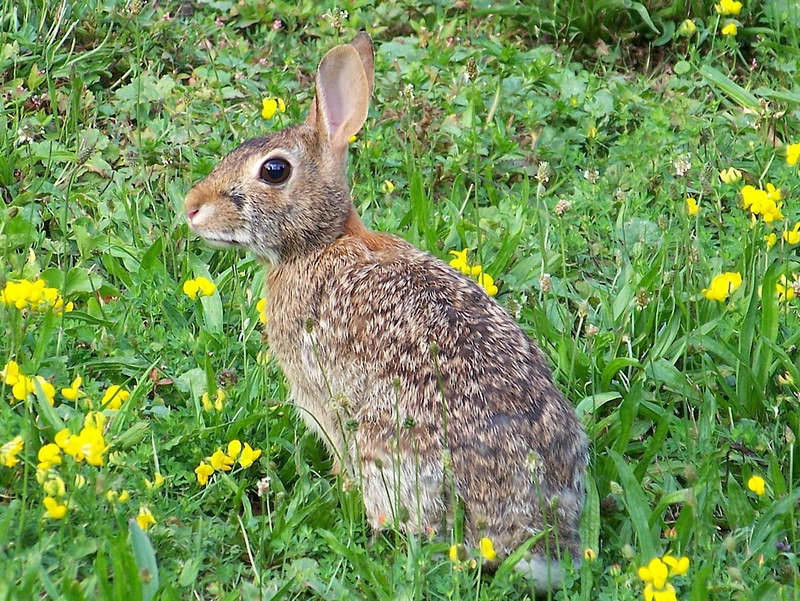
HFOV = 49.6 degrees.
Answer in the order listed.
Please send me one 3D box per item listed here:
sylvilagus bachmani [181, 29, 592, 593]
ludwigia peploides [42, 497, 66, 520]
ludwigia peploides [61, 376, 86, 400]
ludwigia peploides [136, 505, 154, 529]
[{"bbox_3d":[-0.042,0.065,3.735,1.959,1.910,0.966,21,20,15],"label":"sylvilagus bachmani"},{"bbox_3d":[-1.210,0.735,3.027,0.049,0.087,0.120,0,-10,-6],"label":"ludwigia peploides"},{"bbox_3d":[-1.381,0.370,3.688,0.060,0.136,0.094,20,-4,-16],"label":"ludwigia peploides"},{"bbox_3d":[-0.944,0.801,3.187,0.064,0.060,0.085,3,39,-41],"label":"ludwigia peploides"}]
